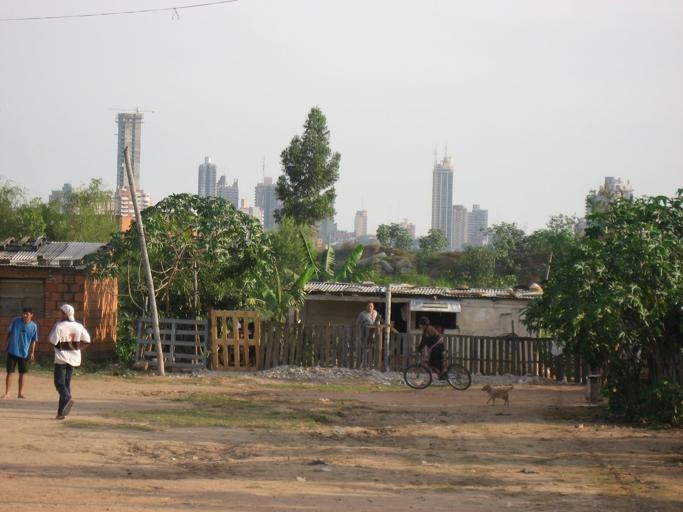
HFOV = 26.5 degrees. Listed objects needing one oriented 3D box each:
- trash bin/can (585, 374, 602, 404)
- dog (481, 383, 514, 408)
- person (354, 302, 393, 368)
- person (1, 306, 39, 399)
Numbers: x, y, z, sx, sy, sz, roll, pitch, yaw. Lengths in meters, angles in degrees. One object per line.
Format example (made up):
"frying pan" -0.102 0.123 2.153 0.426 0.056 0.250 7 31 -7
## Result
"trash bin/can" 7.000 3.771 40.734 0.592 1.030 0.648 -1 0 -1
"dog" 4.422 3.918 40.198 1.149 0.902 0.411 2 -7 10
"person" 0.896 2.597 45.867 0.882 2.336 0.760 -2 -1 29
"person" -8.708 2.664 39.415 0.931 2.487 0.881 2 0 -19
